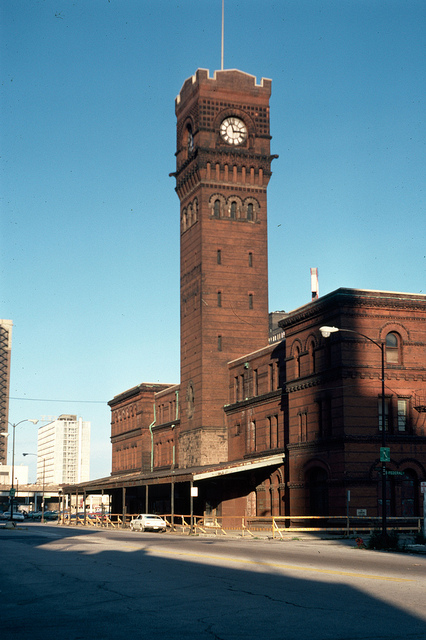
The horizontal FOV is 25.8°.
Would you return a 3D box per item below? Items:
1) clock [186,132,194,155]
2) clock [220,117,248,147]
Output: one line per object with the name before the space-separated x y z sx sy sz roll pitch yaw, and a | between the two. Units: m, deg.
clock | -1.880 -14.040 73.760 0.322 2.509 2.304 0 -1 -12
clock | 1.447 -14.561 71.771 1.945 2.210 0.146 -9 0 -22
